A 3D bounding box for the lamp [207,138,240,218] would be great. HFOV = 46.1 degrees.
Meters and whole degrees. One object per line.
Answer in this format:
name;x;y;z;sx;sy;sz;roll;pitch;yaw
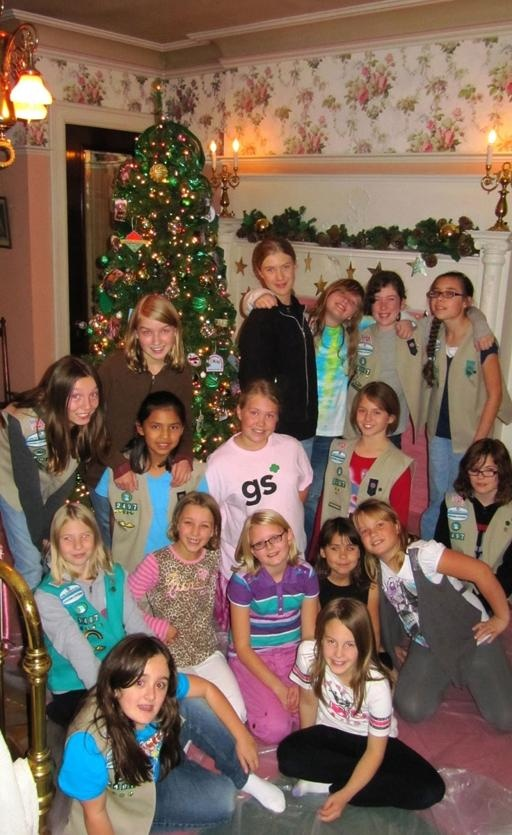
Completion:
lamp;-0.259;-1.928;4.896;0.237;0.574;0.121;3;19;8
